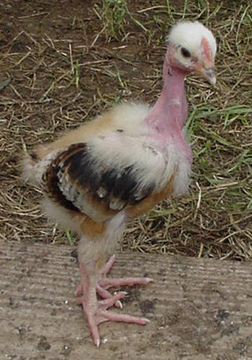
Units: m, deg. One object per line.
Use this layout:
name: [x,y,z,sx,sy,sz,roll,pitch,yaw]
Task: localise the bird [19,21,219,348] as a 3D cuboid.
bird: [0.048,0.032,2.033,0.800,1.284,0.828,-16,51,-14]
